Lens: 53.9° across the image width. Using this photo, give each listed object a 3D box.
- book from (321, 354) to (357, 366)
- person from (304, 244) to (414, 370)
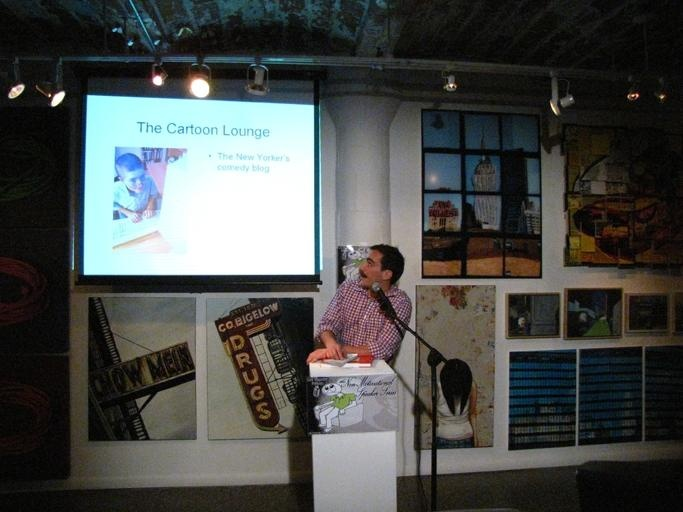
[{"bbox_3d":[-0.008,0.724,4.667,0.262,0.039,0.181,-3,4,-10],"label":"book"},{"bbox_3d":[0.168,0.431,5.141,0.730,1.009,0.951,-2,4,0],"label":"person"}]
